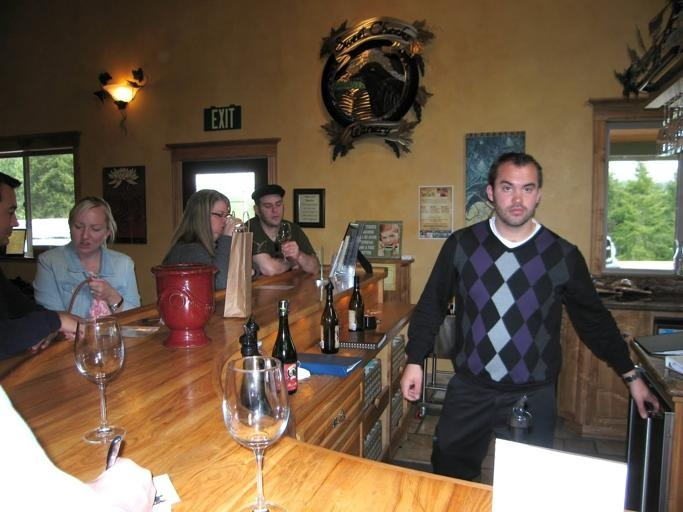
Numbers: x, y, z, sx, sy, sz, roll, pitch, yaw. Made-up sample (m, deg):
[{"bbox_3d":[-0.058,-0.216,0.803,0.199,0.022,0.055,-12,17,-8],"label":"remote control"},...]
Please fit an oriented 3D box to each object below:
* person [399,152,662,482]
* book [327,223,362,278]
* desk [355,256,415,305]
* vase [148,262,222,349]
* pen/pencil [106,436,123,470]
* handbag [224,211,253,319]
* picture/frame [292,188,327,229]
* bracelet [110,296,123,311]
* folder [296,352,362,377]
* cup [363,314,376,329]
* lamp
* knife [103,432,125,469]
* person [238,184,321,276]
[{"bbox_3d":[0.843,0.456,2.621,1.104,1.283,0.308,-1,6,3],"label":"person"},{"bbox_3d":[0.023,-0.038,3.637,0.220,0.355,0.218,-1,6,-2],"label":"book"},{"bbox_3d":[0.468,0.295,5.057,0.311,0.502,0.346,0,3,27],"label":"desk"},{"bbox_3d":[-0.638,0.197,2.189,0.269,0.338,0.263,0,8,-2],"label":"vase"},{"bbox_3d":[-0.583,0.509,1.374,0.022,0.108,0.027,18,27,-1],"label":"pen/pencil"},{"bbox_3d":[-0.468,0.090,2.408,0.125,0.399,0.120,-3,7,-17],"label":"handbag"},{"bbox_3d":[-0.308,-0.479,5.335,0.453,0.555,0.044,1,4,13],"label":"picture/frame"},{"bbox_3d":[-1.229,0.262,2.919,0.062,0.043,0.070,-3,-12,-37],"label":"bracelet"},{"bbox_3d":[-0.071,0.519,2.605,0.308,0.057,0.282,1,6,18],"label":"folder"},{"bbox_3d":[0.182,0.405,3.313,0.072,0.071,0.075,1,7,0],"label":"cup"},{"bbox_3d":[-2.474,-1.727,5.934,0.689,0.680,0.247,3,7,32],"label":"lamp"},{"bbox_3d":[-0.604,0.519,1.417,0.029,0.130,0.032,11,38,-18],"label":"knife"},{"bbox_3d":[-0.500,-0.119,4.136,0.501,0.843,0.517,-10,3,10],"label":"person"}]
